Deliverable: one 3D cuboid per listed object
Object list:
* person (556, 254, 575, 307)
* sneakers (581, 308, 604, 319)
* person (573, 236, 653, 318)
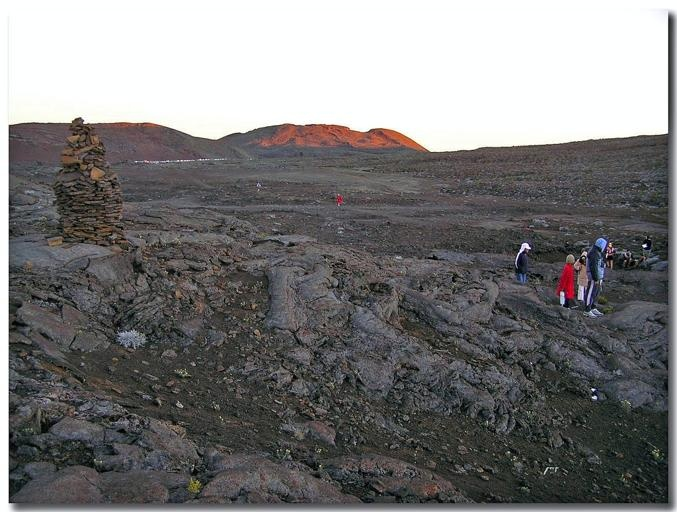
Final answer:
[{"bbox_3d":[5.333,0.604,10.205,0.382,1.273,0.670,7,9,26],"label":"person"},{"bbox_3d":[5.795,1.334,9.982,0.492,0.168,0.152,1,11,5],"label":"sneakers"},{"bbox_3d":[5.943,0.504,10.115,0.506,1.769,0.726,5,9,16],"label":"person"}]
